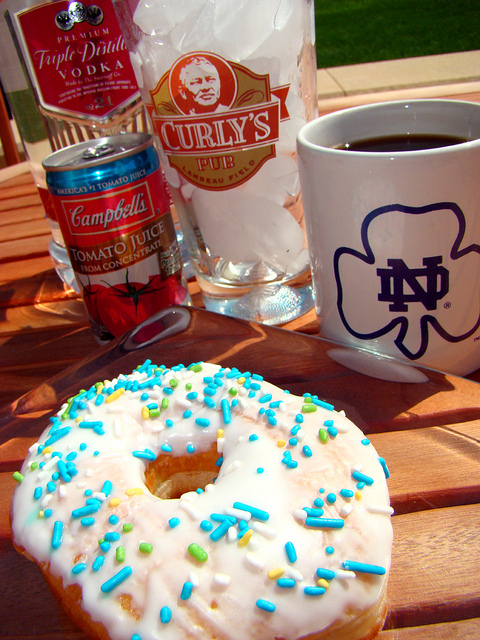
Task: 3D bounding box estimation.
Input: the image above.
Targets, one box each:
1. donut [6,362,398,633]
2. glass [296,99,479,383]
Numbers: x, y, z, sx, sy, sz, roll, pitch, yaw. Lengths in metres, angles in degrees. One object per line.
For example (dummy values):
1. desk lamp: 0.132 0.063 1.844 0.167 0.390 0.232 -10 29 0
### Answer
1. donut: -0.028 0.134 0.407 0.278 0.091 0.227 6 34 17
2. glass: 0.131 -0.062 0.469 0.142 0.222 0.165 -18 35 -16
